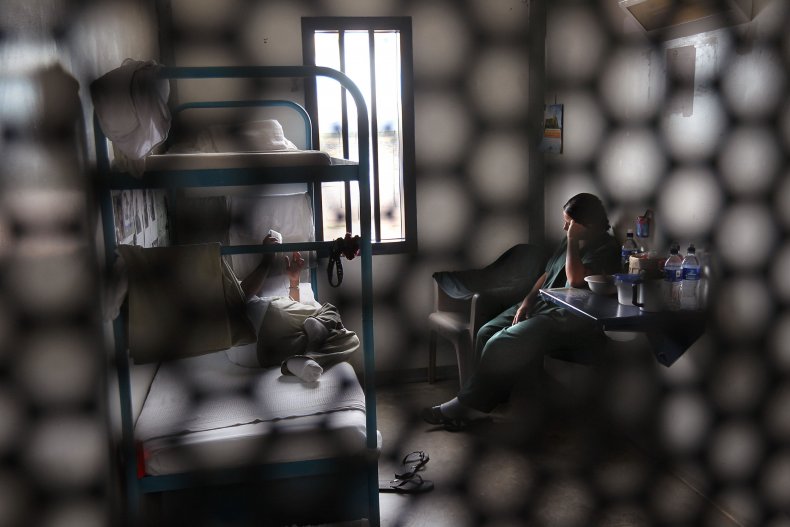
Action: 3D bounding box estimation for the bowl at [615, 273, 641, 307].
[{"bbox_3d":[1.125,0.144,3.288,0.140,0.128,0.115,1,9,5],"label":"bowl"}]

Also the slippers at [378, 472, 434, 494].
[{"bbox_3d":[0.059,1.106,3.340,0.306,0.053,0.096,-3,39,6],"label":"slippers"}]

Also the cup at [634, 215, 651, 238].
[{"bbox_3d":[1.338,-0.198,3.596,0.091,0.135,0.093,-2,11,0],"label":"cup"}]

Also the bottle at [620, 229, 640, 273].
[{"bbox_3d":[1.300,-0.061,3.682,0.093,0.234,0.319,0,8,19],"label":"bottle"}]

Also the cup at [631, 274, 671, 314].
[{"bbox_3d":[1.213,0.146,3.140,0.188,0.184,0.120,-6,13,-13],"label":"cup"}]

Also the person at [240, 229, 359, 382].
[{"bbox_3d":[-0.516,0.215,3.420,0.501,0.332,0.922,-13,45,-11],"label":"person"}]
